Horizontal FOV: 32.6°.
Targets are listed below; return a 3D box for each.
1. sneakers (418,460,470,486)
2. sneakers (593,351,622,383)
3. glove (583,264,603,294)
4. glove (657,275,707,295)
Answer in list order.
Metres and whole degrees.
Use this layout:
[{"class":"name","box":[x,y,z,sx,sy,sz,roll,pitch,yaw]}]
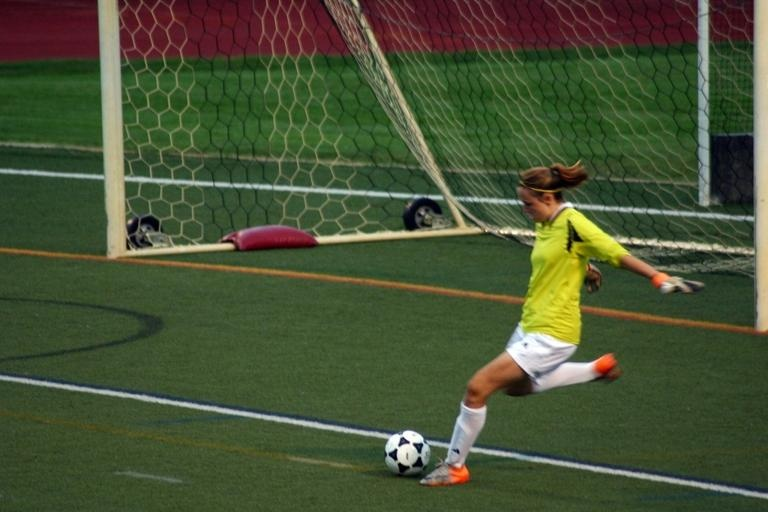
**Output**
[{"class":"sneakers","box":[0.525,1.840,11.121,0.467,0.186,0.171,-2,-5,-4]},{"class":"sneakers","box":[1.913,0.946,11.184,0.228,0.200,0.273,55,14,25]},{"class":"glove","box":[1.822,0.187,11.204,0.100,0.253,0.201,1,-9,-42]},{"class":"glove","box":[2.477,0.243,10.688,0.411,0.168,0.146,-3,11,4]}]
